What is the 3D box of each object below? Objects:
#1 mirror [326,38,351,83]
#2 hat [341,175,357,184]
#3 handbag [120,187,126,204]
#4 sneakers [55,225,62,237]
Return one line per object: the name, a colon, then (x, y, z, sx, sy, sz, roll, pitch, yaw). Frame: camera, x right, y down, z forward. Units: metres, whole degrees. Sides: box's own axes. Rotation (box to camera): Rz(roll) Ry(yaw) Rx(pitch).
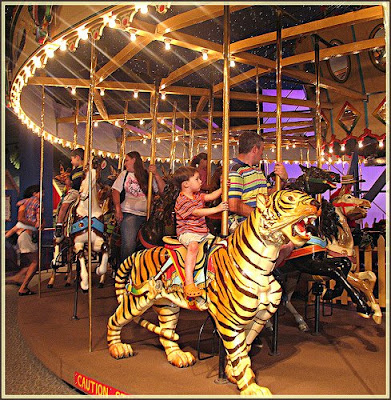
mirror: (2.586, -2.523, 7.013, 0.411, 0.648, 1.259, 0, -1, 19)
hat: (2.237, -0.283, 5.635, 0.171, 0.083, 0.158, -4, -1, -33)
handbag: (-1.065, -0.064, 5.676, 0.047, 0.219, 0.117, 8, 16, -20)
sneakers: (-2.211, 0.515, 6.261, 0.115, 0.185, 0.071, 6, -4, -40)
